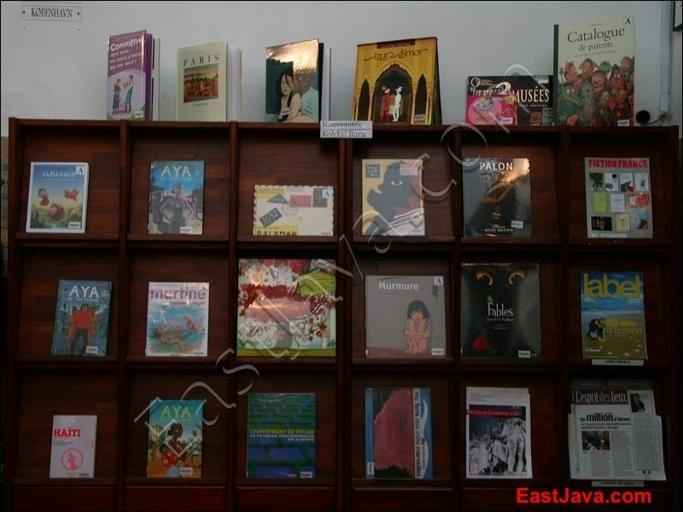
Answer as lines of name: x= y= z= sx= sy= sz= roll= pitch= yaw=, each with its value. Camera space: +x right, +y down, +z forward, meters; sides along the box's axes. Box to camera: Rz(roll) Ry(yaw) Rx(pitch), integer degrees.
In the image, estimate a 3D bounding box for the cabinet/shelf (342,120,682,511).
cabinet/shelf: x=0.975 y=0.438 z=4.394 sx=1.967 sy=2.474 sz=0.527 roll=0 pitch=-2 yaw=2
